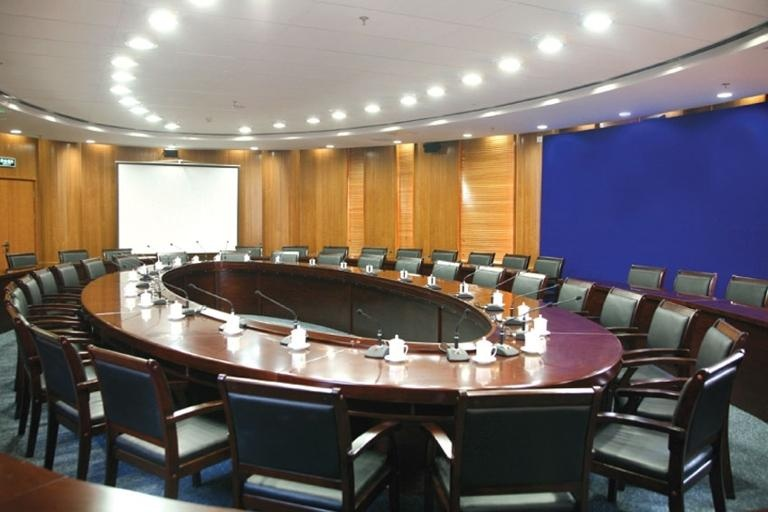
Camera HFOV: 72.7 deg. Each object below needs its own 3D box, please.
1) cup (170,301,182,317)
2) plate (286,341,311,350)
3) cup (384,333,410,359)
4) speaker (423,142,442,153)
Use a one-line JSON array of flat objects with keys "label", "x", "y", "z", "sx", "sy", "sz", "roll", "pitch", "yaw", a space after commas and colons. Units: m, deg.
[{"label": "cup", "x": -1.814, "y": 0.472, "z": 4.587, "sx": 0.136, "sy": 0.113, "sz": 0.121, "roll": -2, "pitch": 1, "yaw": -13}, {"label": "plate", "x": -0.617, "y": 0.653, "z": 3.820, "sx": 0.174, "sy": 0.052, "sz": 0.121, "roll": -2, "pitch": 5, "yaw": -15}, {"label": "cup", "x": 0.086, "y": 0.652, "z": 3.727, "sx": 0.249, "sy": 0.210, "sz": 0.148, "roll": 2, "pitch": -5, "yaw": 0}, {"label": "speaker", "x": 0.903, "y": -2.068, "z": 9.965, "sx": 0.265, "sy": 0.106, "sz": 0.188, "roll": 4, "pitch": 9, "yaw": 33}]
